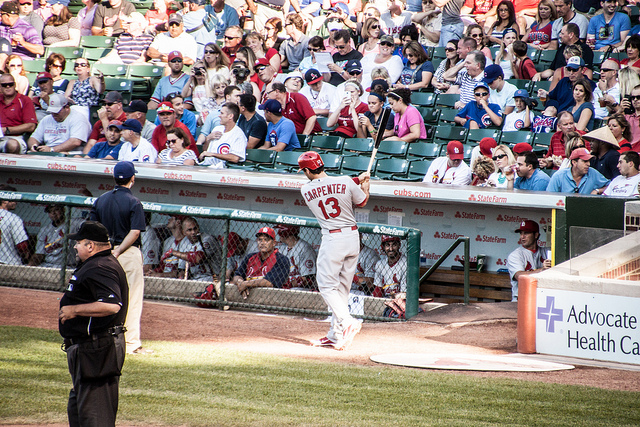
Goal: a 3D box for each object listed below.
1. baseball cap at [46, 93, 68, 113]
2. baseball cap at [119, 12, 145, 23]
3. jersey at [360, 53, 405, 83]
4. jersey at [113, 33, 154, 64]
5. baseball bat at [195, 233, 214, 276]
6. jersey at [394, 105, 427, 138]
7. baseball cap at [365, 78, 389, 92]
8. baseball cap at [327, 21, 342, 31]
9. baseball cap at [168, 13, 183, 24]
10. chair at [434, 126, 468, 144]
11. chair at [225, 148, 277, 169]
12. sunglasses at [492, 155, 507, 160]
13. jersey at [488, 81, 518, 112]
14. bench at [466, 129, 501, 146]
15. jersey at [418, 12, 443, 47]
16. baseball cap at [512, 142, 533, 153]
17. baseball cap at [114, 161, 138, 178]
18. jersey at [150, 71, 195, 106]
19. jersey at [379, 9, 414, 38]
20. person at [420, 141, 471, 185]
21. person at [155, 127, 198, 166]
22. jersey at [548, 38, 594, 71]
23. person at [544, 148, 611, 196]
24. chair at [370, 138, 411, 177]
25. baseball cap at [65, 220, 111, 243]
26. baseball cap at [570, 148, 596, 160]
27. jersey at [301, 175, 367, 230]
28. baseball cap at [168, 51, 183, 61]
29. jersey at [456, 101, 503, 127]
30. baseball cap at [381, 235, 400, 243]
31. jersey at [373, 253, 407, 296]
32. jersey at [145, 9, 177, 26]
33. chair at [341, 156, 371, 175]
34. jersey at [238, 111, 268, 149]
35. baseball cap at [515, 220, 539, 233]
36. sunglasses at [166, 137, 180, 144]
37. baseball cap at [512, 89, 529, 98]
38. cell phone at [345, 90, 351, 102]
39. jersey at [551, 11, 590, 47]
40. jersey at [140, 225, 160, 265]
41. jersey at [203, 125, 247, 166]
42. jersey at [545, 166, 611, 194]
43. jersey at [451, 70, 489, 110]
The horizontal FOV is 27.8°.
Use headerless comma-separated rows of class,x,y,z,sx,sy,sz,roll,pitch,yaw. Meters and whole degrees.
baseball cap,-5.059,-2.093,24.893,0.257,0.206,0.386,13,42,19
baseball cap,-4.205,-4.336,28.961,0.417,0.128,0.264,0,3,15
jersey,1.211,-2.765,25.755,0.684,0.637,0.262,6,-14,10
jersey,-4.061,-3.553,28.374,0.759,0.661,0.405,1,-10,9
baseball bat,-2.012,0.724,22.537,0.109,0.768,0.104,-25,4,4
jersey,1.602,-1.666,24.153,0.460,0.587,0.753,-7,10,-25
baseball cap,1.100,-2.372,24.303,0.330,0.159,0.197,5,13,3
baseball cap,0.311,-3.826,26.846,0.285,0.240,0.435,2,-3,-1
baseball cap,-3.030,-4.061,27.267,0.414,0.165,0.569,-1,5,0
chair,2.395,-1.454,23.988,0.430,0.516,0.450,1,2,6
chair,-1.144,-0.983,23.889,0.588,0.510,0.486,3,1,11
sunglasses,3.084,-0.950,22.417,0.100,0.077,0.309,4,-4,-35
jersey,3.378,-2.121,23.993,0.541,0.450,0.282,7,-15,6
bench,2.976,-1.368,23.641,0.620,0.313,0.252,2,-3,8
jersey,2.246,-3.742,26.721,0.244,0.669,0.650,5,-4,-38
baseball cap,3.495,-1.113,22.343,0.254,0.121,0.173,3,14,4
baseball cap,-2.959,-0.652,19.653,0.304,0.264,0.205,3,-3,-10
jersey,-3.056,-2.497,26.129,0.925,0.477,0.849,-5,-39,-34
jersey,1.599,-3.877,26.831,0.804,0.541,0.416,-4,-31,12
person,2.195,-0.851,22.808,0.793,0.740,0.522,-1,-4,43
person,-2.632,-1.210,23.880,0.774,0.681,0.387,2,-3,-2
jersey,4.743,-2.945,24.379,0.738,0.573,0.383,11,-7,30
person,4.398,-0.667,21.911,0.653,0.868,0.287,16,10,-7
chair,1.377,-1.005,23.807,0.688,0.915,0.702,7,5,17
baseball cap,-3.148,0.256,17.776,0.470,0.231,0.274,7,0,2
baseball cap,4.364,-0.975,21.661,0.288,0.133,0.183,6,7,19
jersey,0.219,-0.034,20.498,1.084,0.951,0.519,-16,-4,18
baseball cap,-2.907,-3.103,26.061,0.188,0.259,0.261,-2,-35,-18
jersey,2.996,-1.795,24.043,0.351,0.495,1.163,-20,21,-39
baseball cap,1.164,0.449,21.810,0.356,0.107,0.133,-1,-4,43
jersey,1.199,1.051,21.760,0.641,0.722,0.420,-6,-14,32
jersey,-3.685,-4.434,29.602,0.511,0.231,0.669,-3,1,16
chair,0.671,-0.873,23.426,0.386,0.509,0.388,2,0,9
jersey,-1.273,-1.503,24.085,0.307,0.416,0.581,-21,30,-30
baseball cap,3.483,0.238,21.699,0.276,0.146,0.188,4,0,-12
sunglasses,-2.714,-1.310,23.796,0.105,0.099,0.267,5,-4,-44
baseball cap,3.672,-2.162,23.677,0.355,0.184,0.227,5,-4,-44
cell phone,0.517,-2.164,24.160,0.115,0.207,0.110,2,-3,9
jersey,4.834,-3.508,25.057,0.745,0.686,0.411,22,13,29
jersey,-2.977,0.567,22.776,0.320,0.659,0.171,2,-3,1
jersey,-1.870,-1.267,23.756,0.761,0.728,0.293,-10,-16,28
jersey,4.344,-0.500,21.959,1.334,0.570,0.390,-3,7,-11
jersey,2.830,-2.272,24.329,0.420,1.041,0.879,-1,1,-25
